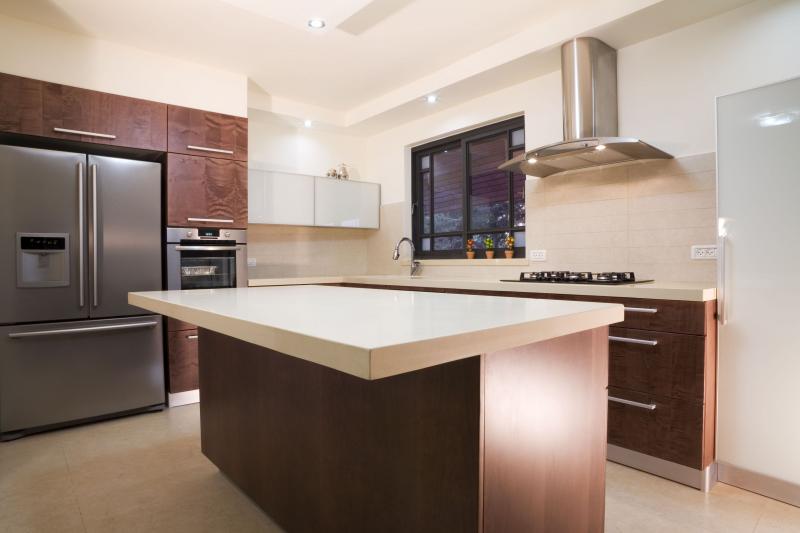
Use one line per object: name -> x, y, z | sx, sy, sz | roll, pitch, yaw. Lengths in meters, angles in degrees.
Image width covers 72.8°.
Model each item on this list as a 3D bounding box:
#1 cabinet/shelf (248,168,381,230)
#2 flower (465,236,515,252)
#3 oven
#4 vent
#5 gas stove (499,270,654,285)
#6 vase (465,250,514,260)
cabinet/shelf -> -1.039, -0.712, 6.084 | 1.557, 0.537, 0.434 | 0, 1, -35
flower -> 0.903, -0.215, 5.493 | 0.162, 0.196, 0.580 | 1, -2, -44
oven -> -1.822, -0.049, 5.114 | 0.668, 0.592, 0.434 | -2, -2, -25
vent -> 1.449, -1.344, 4.453 | 0.633, 0.913, 1.171 | -5, 3, -41
gas stove -> 1.398, 0.084, 4.311 | 1.027, 0.087, 0.611 | 2, 4, 31
vase -> 0.903, -0.124, 5.446 | 0.177, 0.099, 0.638 | -2, 4, -33
